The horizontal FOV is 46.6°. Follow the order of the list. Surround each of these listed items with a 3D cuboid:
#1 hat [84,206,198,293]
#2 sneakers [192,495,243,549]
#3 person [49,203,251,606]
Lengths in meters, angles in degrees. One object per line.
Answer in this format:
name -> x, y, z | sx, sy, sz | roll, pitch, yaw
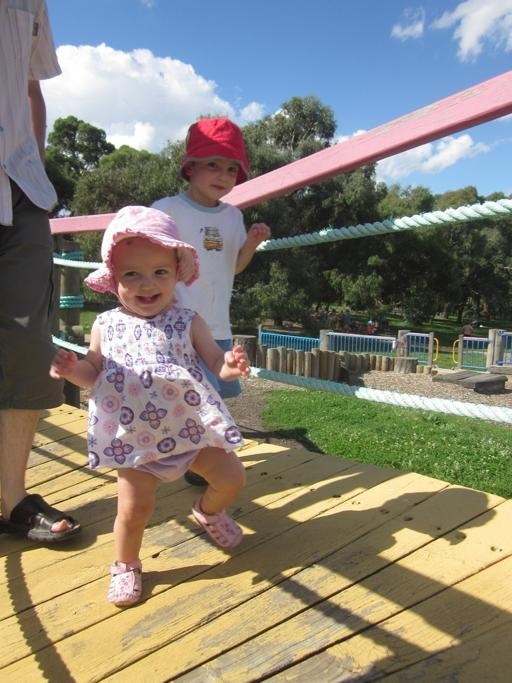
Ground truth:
hat -> -0.290, -0.220, 1.567 | 0.243, 0.140, 0.278 | 0, -12, -4
sneakers -> -0.099, 0.493, 1.623 | 0.084, 0.148, 0.062 | -41, -8, -33
person -> -0.257, 0.112, 1.506 | 0.485, 0.902, 0.444 | -8, 12, -22
